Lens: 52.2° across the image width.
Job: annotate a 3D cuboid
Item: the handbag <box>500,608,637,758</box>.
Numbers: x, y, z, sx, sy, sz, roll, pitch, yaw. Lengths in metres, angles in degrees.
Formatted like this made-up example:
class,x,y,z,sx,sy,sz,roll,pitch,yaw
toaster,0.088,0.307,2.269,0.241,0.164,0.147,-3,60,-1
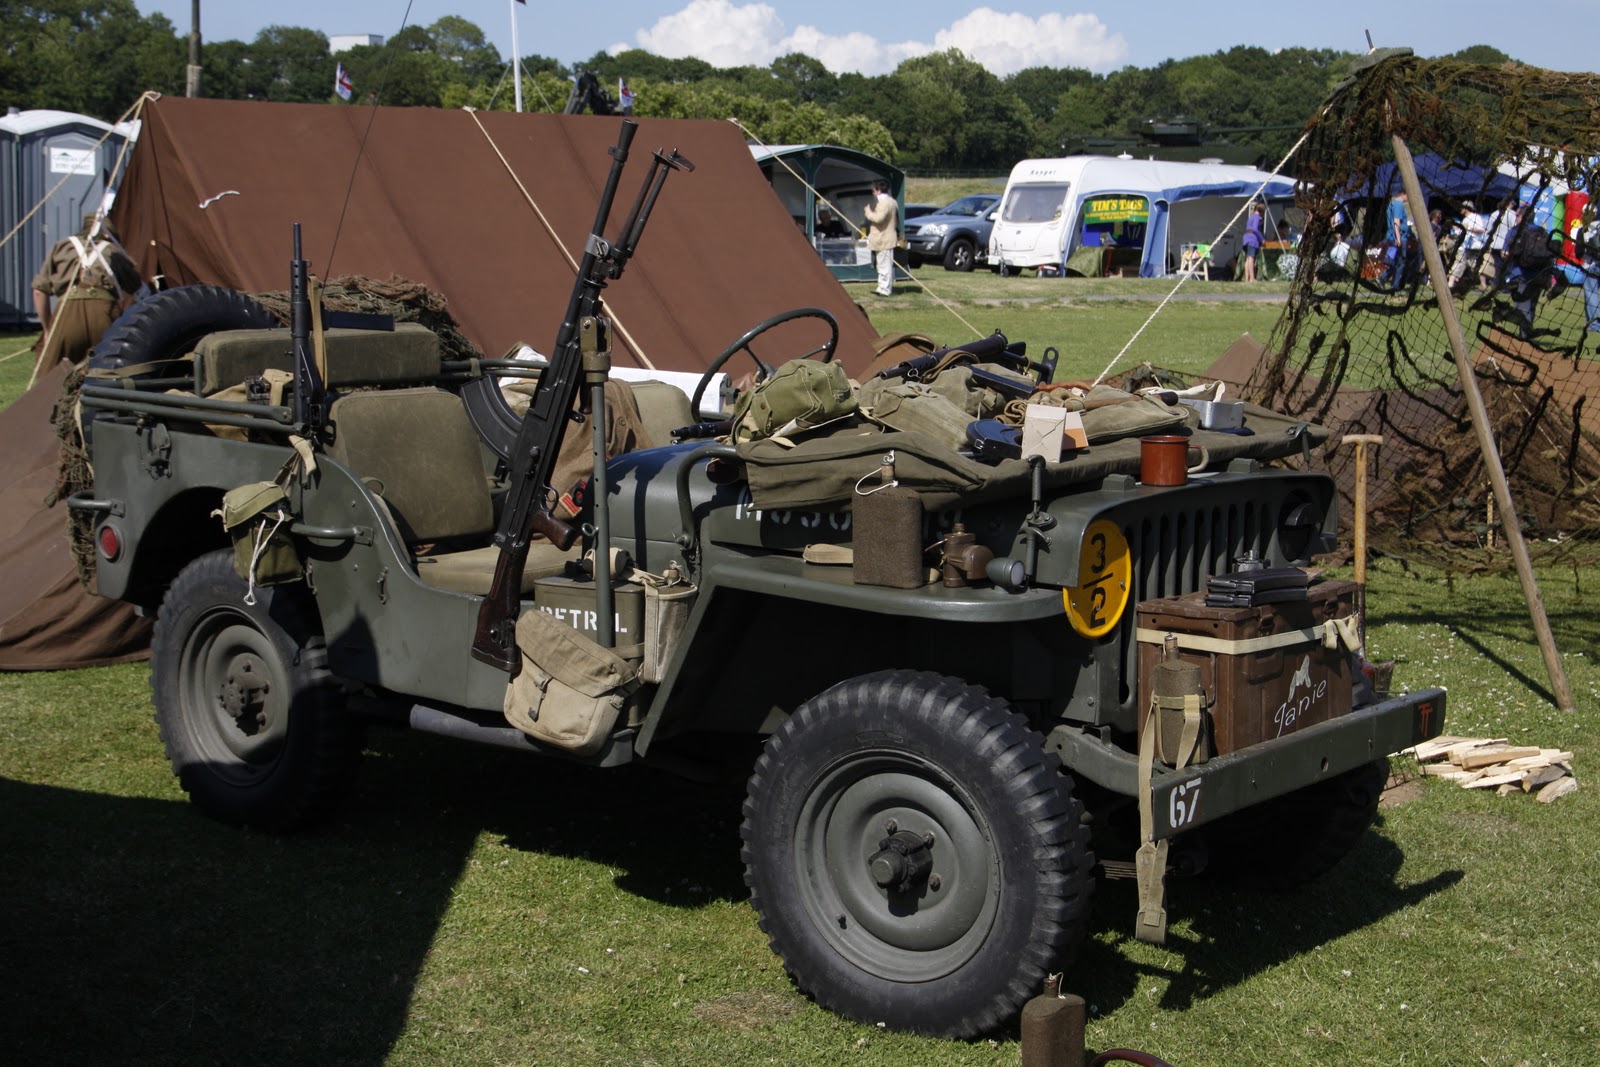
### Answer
class,x,y,z,sx,sy,sz,roll,pitch,yaw
handbag,-0.890,0.582,6.446,0.220,0.373,0.470,10,2,-42

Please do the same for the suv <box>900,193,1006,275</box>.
class,x,y,z,sx,sy,sz,roll,pitch,yaw
suv,3.359,-6.148,34.178,1.276,1.189,2.362,4,5,44

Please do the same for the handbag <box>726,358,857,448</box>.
class,x,y,z,sx,sy,sz,roll,pitch,yaw
handbag,-0.029,-0.495,6.326,0.378,0.207,0.299,-23,2,27

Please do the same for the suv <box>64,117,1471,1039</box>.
class,x,y,z,sx,sy,sz,roll,pitch,yaw
suv,-0.349,0.049,7.517,5.618,3.581,3.161,8,12,33

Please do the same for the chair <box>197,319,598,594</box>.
class,x,y,z,sx,sy,sz,roll,pitch,yaw
chair,-1.776,-0.393,7.359,1.656,1.130,1.057,6,10,38

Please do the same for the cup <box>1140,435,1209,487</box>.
class,x,y,z,sx,sy,sz,roll,pitch,yaw
cup,1.397,-0.263,6.159,0.194,0.151,0.133,0,-1,1
